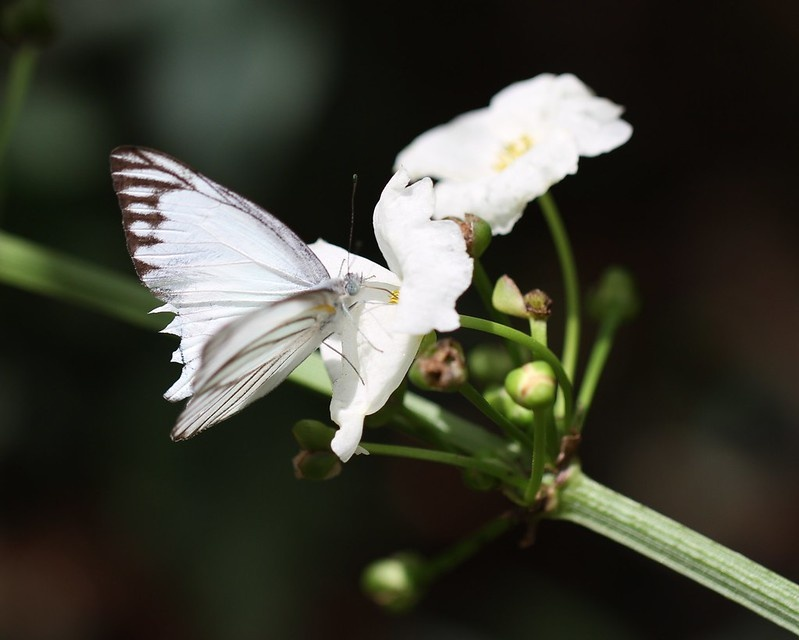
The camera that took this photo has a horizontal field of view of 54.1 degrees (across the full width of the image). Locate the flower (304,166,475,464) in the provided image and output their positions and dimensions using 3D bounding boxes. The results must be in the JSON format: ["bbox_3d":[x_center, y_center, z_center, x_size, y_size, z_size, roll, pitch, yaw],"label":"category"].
[{"bbox_3d":[-0.077,-0.015,1.979,0.519,0.709,0.256,2,6,36],"label":"flower"}]

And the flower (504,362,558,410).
[{"bbox_3d":[0.321,0.158,1.936,0.109,0.108,0.110,-19,-1,-16],"label":"flower"}]

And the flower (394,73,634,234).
[{"bbox_3d":[0.323,-0.543,2.460,0.625,0.172,0.594,5,-16,-27],"label":"flower"}]
